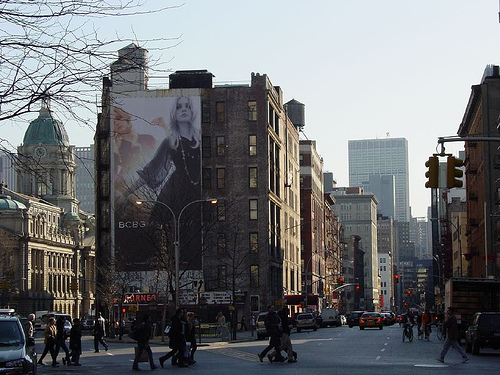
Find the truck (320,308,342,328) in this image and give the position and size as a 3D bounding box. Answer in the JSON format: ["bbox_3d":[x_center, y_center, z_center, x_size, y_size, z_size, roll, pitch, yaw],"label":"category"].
[{"bbox_3d":[9.482,15.002,140.440,1.794,1.554,3.241,-1,-2,10],"label":"truck"}]

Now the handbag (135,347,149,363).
[{"bbox_3d":[-6.448,9.845,71.371,0.926,0.843,0.869,0,-6,-3],"label":"handbag"}]

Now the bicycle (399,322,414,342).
[{"bbox_3d":[11.804,10.676,89.504,0.794,1.488,2.214,-4,-8,6],"label":"bicycle"}]

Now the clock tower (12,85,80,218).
[{"bbox_3d":[-35.254,-4.399,203.272,15.015,22.239,14.838,1,5,-20],"label":"clock tower"}]
